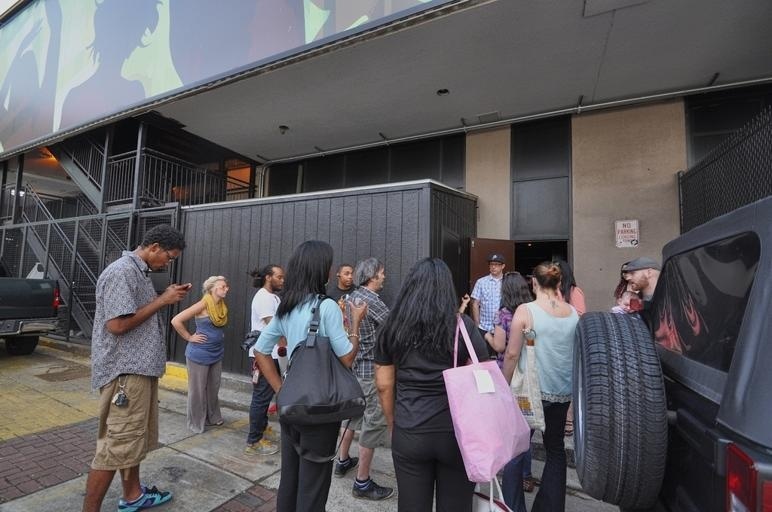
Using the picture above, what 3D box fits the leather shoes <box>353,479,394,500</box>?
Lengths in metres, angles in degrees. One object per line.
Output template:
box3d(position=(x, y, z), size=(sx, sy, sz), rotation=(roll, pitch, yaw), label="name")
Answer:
box3d(position=(-0.158, 2.582, 5.200), size=(0.469, 0.206, 0.190), rotation=(1, -5, -5), label="leather shoes")

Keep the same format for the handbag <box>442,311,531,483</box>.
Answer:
box3d(position=(0.826, 1.195, 3.885), size=(0.680, 1.268, 0.382), rotation=(1, 1, 17), label="handbag")

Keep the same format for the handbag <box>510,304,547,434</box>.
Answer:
box3d(position=(1.398, 1.121, 4.519), size=(0.336, 1.341, 1.078), rotation=(1, -6, 7), label="handbag")

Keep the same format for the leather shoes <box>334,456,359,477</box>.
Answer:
box3d(position=(-0.482, 2.462, 5.539), size=(0.128, 0.173, 0.394), rotation=(-3, 3, 32), label="leather shoes")

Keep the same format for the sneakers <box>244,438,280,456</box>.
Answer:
box3d(position=(-1.592, 2.408, 5.885), size=(0.368, 0.164, 0.186), rotation=(1, 0, -9), label="sneakers")

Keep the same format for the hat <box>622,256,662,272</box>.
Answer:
box3d(position=(2.987, 0.114, 5.436), size=(0.341, 0.140, 0.238), rotation=(-2, -4, 39), label="hat")

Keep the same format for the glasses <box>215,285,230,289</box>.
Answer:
box3d(position=(-2.291, 0.437, 6.414), size=(0.212, 0.062, 0.209), rotation=(-1, -6, 41), label="glasses")
